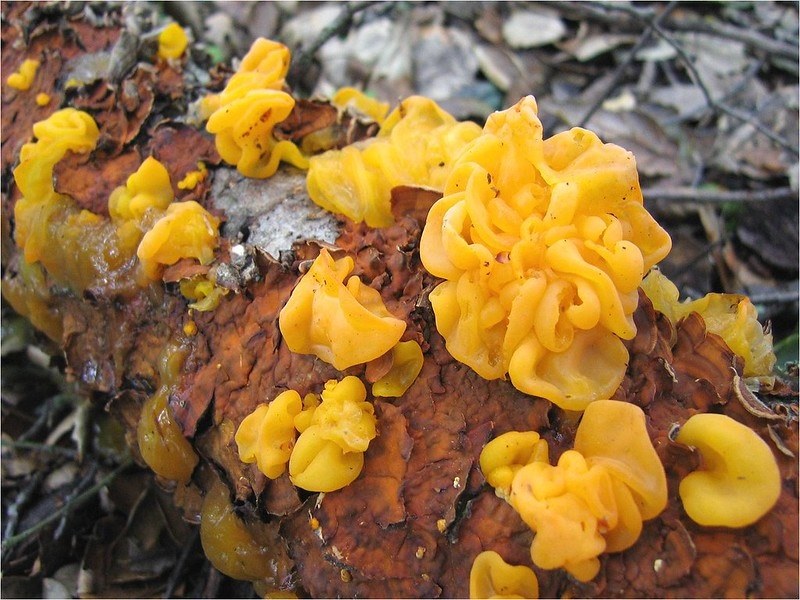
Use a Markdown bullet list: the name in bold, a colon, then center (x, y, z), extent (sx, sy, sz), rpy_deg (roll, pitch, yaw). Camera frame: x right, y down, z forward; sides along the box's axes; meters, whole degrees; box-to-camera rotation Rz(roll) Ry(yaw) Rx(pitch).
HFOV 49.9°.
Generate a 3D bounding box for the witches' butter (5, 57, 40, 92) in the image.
- **witches' butter**: center (-2.330, -1.408, 5.310), extent (0.145, 0.075, 0.219), rpy_deg (29, 84, -3)
